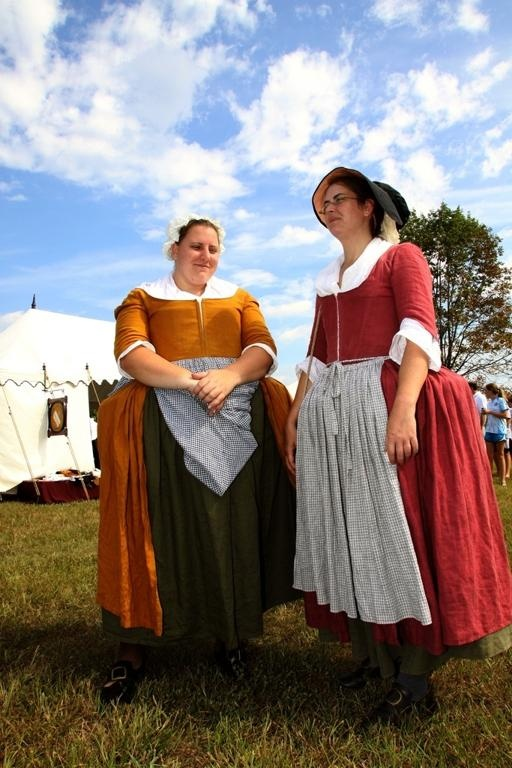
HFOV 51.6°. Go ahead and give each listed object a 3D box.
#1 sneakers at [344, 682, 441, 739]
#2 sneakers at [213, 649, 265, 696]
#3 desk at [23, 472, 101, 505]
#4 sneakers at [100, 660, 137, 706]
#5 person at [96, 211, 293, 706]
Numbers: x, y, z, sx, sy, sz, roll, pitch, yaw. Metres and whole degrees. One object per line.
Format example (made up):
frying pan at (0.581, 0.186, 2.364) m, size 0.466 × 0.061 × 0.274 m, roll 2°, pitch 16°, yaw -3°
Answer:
sneakers at (0.461, 1.019, 1.713) m, size 0.328 × 0.132 × 0.108 m, roll 8°, pitch -17°, yaw -36°
sneakers at (-0.060, 1.098, 2.022) m, size 0.131 × 0.077 × 0.181 m, roll 9°, pitch -35°, yaw -8°
desk at (-2.883, 1.555, 7.941) m, size 0.615 × 0.279 × 1.036 m, roll -11°, pitch -15°, yaw 38°
sneakers at (-0.479, 1.054, 1.865) m, size 0.060 × 0.066 × 0.169 m, roll 2°, pitch -18°, yaw 7°
person at (-0.235, 0.194, 2.126) m, size 0.848 × 1.788 × 0.634 m, roll -4°, pitch 4°, yaw -17°
